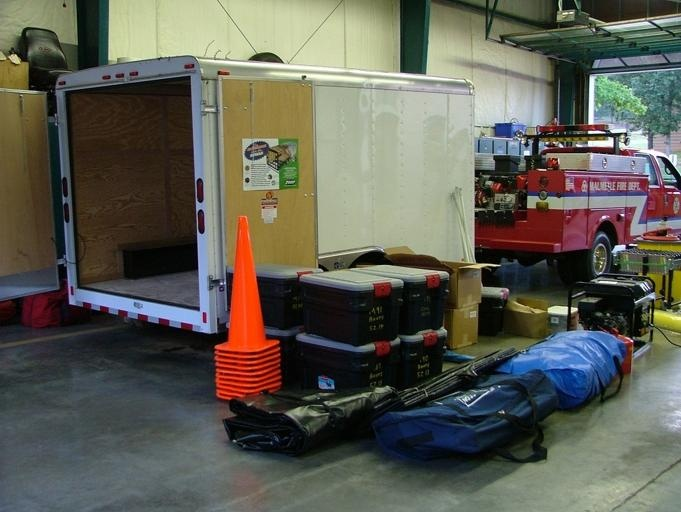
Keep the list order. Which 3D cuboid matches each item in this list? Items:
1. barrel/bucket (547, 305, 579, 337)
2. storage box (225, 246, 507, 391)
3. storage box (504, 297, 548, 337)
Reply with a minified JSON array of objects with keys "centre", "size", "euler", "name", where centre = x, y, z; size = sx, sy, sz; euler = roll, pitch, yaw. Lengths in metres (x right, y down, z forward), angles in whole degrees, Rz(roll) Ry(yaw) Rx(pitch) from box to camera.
[{"centre":[2.764,0.752,7.468],"size":[0.399,0.369,0.406],"euler":[-2,13,0],"name":"barrel/bucket"},{"centre":[0.113,0.203,5.842],"size":[2.105,0.938,1.296],"euler":[-6,13,-41],"name":"storage box"},{"centre":[2.391,0.765,7.629],"size":[0.273,0.406,0.462],"euler":[-7,6,-27],"name":"storage box"}]
